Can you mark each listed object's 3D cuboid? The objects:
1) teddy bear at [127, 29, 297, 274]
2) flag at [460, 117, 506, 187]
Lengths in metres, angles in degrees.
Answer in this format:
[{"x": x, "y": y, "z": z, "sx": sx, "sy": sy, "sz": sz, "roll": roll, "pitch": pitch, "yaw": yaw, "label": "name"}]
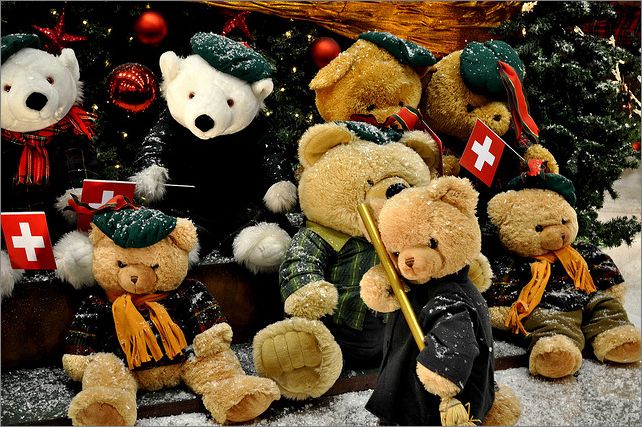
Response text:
[{"x": -0.613, "y": -0.396, "z": 3.995, "sx": 1.154, "sy": 1.640, "sz": 1.197, "roll": -1, "pitch": 10, "yaw": -15, "label": "teddy bear"}, {"x": 0.916, "y": -0.358, "z": 3.773, "sx": 0.352, "sy": 0.333, "sz": 0.034, "roll": 27, "pitch": -6, "yaw": -28, "label": "flag"}]
